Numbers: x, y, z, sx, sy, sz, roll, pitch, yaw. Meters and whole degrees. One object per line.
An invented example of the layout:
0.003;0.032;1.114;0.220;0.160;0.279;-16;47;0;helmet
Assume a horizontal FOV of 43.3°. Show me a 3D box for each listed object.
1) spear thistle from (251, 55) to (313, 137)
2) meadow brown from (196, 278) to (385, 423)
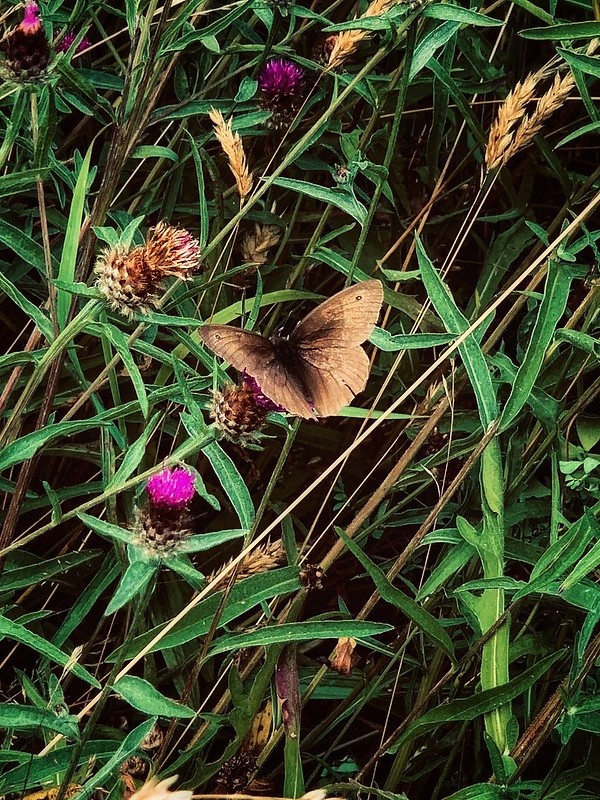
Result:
-0.051;-0.811;2.009;0.137;0.187;0.151;-10;27;-24;spear thistle
0.044;-0.090;1.667;0.347;0.331;0.538;-6;19;-7;meadow brown
